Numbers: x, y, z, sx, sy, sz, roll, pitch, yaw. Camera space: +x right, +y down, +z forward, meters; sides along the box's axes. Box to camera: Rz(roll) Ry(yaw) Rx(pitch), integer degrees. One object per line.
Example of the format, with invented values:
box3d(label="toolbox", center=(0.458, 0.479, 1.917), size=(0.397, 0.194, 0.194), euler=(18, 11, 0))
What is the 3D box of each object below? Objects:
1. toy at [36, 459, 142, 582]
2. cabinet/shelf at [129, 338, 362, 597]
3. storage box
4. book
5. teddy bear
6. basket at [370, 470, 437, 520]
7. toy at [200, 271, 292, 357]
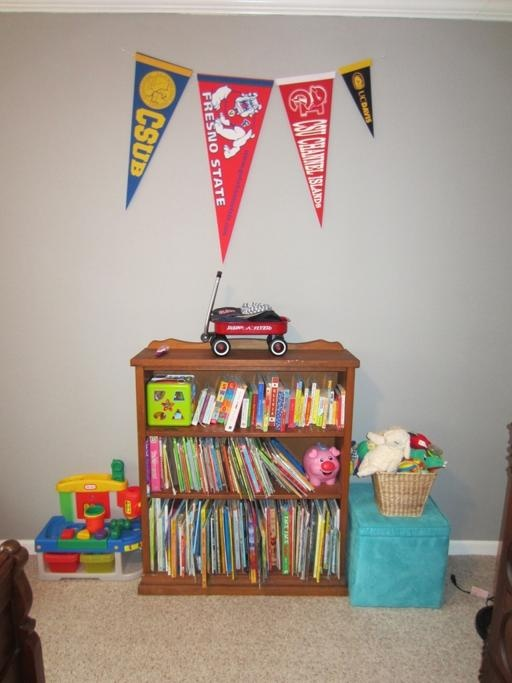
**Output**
box3d(label="toy", center=(-0.685, 0.732, 2.435), size=(0.449, 0.407, 0.280), euler=(-5, 13, -9))
box3d(label="cabinet/shelf", center=(0.080, 0.434, 2.466), size=(1.124, 1.196, 0.406), euler=(-2, 28, -5))
box3d(label="storage box", center=(0.533, 0.792, 2.391), size=(0.390, 0.353, 0.380), euler=(0, 13, 2))
box3d(label="book", center=(-0.053, 0.546, 2.283), size=(0.845, 0.744, 0.270), euler=(-1, 7, -3))
box3d(label="teddy bear", center=(0.517, 0.387, 2.256), size=(0.300, 0.123, 0.217), euler=(1, -3, -33))
box3d(label="basket", center=(0.568, 0.566, 2.321), size=(0.264, 0.169, 0.311), euler=(-4, -6, 18))
box3d(label="toy", center=(-0.035, -0.119, 2.280), size=(0.342, 0.310, 0.202), euler=(0, 16, -9))
